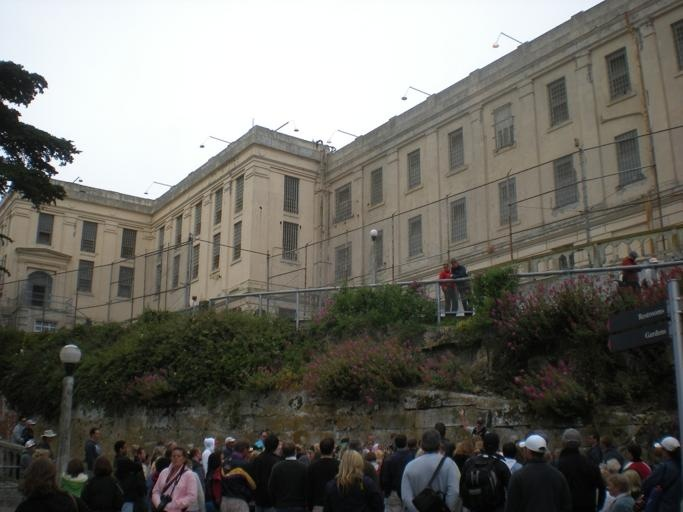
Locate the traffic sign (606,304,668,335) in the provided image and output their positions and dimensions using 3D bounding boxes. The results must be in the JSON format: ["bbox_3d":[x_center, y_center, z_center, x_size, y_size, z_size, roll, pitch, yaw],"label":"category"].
[{"bbox_3d":[5.115,1.120,14.504,0.193,0.263,0.978,17,-18,-17],"label":"traffic sign"}]

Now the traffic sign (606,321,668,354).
[{"bbox_3d":[5.247,1.433,14.872,0.196,0.286,1.070,18,-21,-19],"label":"traffic sign"}]
